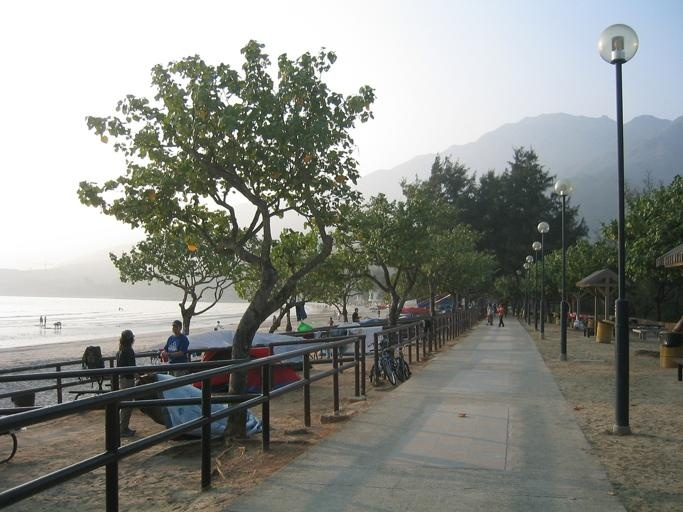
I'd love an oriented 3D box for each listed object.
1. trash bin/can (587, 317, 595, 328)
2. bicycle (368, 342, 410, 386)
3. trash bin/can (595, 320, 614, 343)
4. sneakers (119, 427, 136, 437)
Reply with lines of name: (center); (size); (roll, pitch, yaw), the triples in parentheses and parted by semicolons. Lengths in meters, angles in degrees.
trash bin/can: (14.424, 3.944, 33.478); (0.330, 0.395, 1.216); (-4, -6, 23)
bicycle: (1.234, 2.827, 15.072); (0.657, 0.890, 1.398); (-7, -10, 20)
trash bin/can: (12.893, 3.598, 27.797); (0.927, 1.167, 0.934); (2, -5, 2)
sneakers: (-4.399, 3.631, 11.955); (0.290, 0.158, 0.423); (0, -7, -23)
